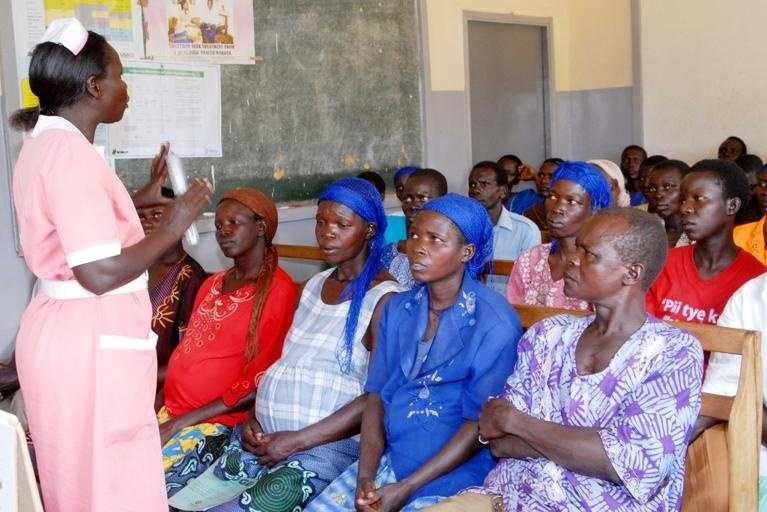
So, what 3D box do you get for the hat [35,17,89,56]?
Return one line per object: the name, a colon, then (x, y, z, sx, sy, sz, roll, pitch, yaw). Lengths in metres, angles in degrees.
hat: (-1.000, -0.689, 2.108, 0.152, 0.128, 0.094, 2, 9, 25)
